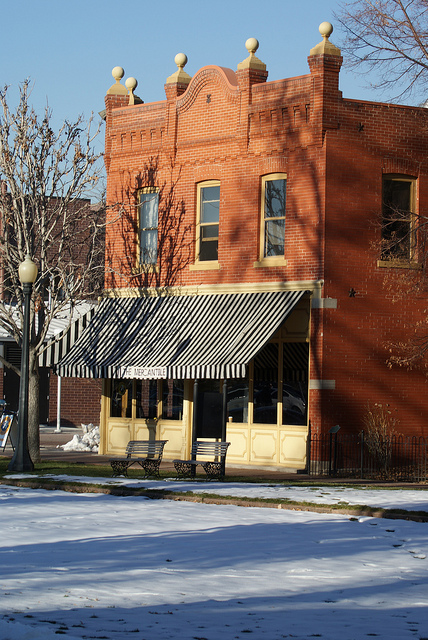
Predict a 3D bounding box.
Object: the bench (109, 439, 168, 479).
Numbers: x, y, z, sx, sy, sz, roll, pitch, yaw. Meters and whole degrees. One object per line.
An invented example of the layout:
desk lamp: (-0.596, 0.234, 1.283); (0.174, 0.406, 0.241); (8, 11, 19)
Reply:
bench: (-1.317, 2.504, 24.416); (0.499, 0.701, 0.939); (3, -4, -44)
